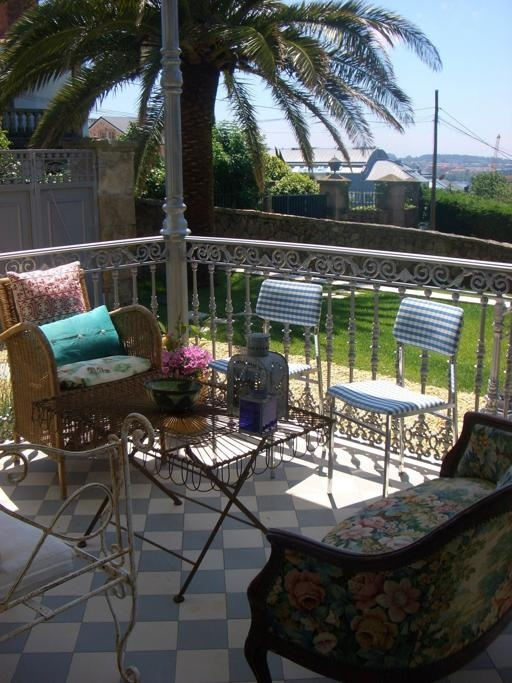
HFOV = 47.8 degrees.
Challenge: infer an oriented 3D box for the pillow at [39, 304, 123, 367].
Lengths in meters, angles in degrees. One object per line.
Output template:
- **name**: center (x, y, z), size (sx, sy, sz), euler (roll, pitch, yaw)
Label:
- **pillow**: center (-0.971, -0.021, 3.165), size (0.316, 0.108, 0.224), euler (-14, 61, -25)

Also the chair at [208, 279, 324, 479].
- **chair**: center (0.175, 0.084, 3.351), size (0.537, 0.791, 0.567), euler (4, 15, -30)
